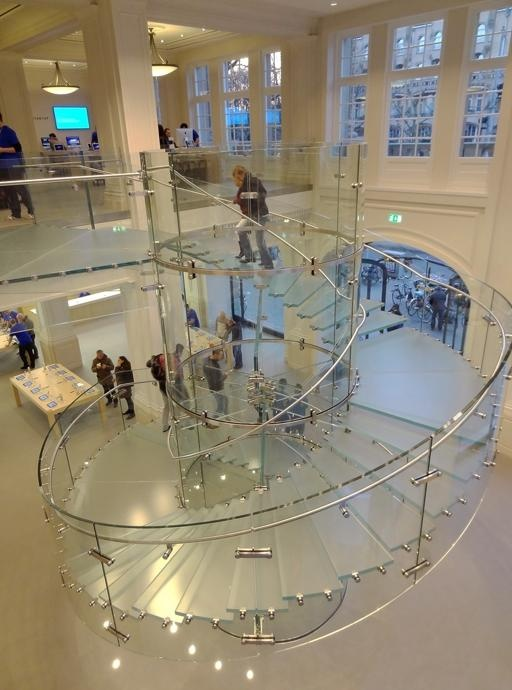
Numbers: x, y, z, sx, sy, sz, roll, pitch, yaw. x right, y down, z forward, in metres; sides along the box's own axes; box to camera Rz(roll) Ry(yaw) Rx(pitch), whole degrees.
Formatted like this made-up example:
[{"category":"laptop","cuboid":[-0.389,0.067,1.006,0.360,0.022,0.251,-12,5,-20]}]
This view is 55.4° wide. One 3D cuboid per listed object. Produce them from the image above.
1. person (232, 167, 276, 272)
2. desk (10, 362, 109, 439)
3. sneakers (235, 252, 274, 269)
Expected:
[{"category":"person","cuboid":[-0.044,-1.104,4.015,0.298,0.687,0.740,-3,23,-1]},{"category":"desk","cuboid":[-3.341,1.026,8.443,1.888,0.681,1.081,30,45,33]},{"category":"sneakers","cuboid":[-0.021,-0.654,3.799,0.224,0.088,0.067,19,41,12]}]
